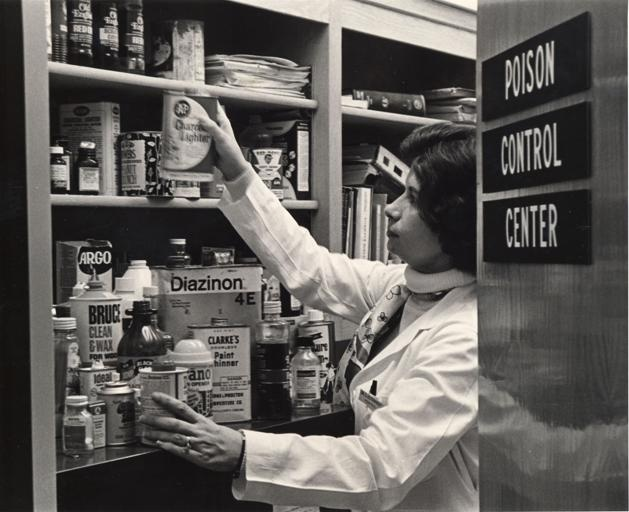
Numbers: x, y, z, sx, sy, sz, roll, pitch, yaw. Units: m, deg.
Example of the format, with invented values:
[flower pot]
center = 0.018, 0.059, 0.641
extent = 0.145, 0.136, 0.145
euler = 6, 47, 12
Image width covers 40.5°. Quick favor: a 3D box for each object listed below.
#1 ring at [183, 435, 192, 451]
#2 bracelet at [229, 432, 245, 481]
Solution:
[ring]
center = -0.252, 0.373, 1.697
extent = 0.017, 0.027, 0.013
euler = -4, -2, 44
[bracelet]
center = -0.154, 0.413, 1.722
extent = 0.018, 0.072, 0.065
euler = 0, -11, -22
